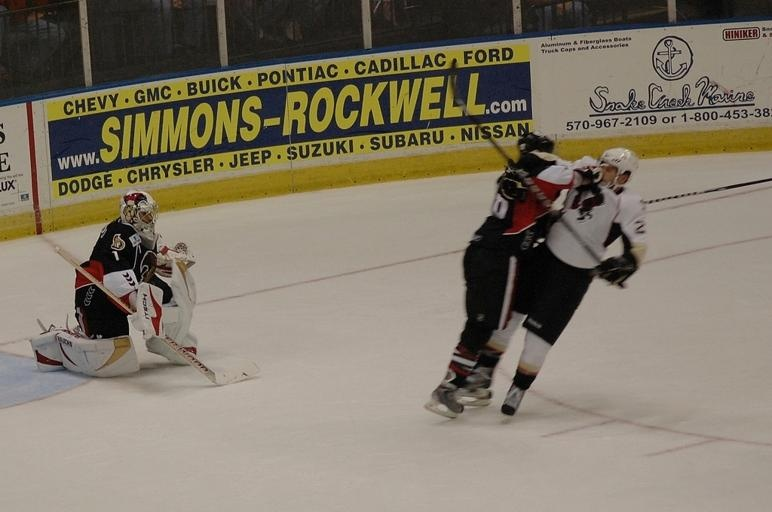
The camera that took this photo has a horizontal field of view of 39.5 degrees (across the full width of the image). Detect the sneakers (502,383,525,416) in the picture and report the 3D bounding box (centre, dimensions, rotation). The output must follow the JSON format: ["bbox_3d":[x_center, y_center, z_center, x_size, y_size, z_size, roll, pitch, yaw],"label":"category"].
[{"bbox_3d":[0.931,1.065,7.853,0.076,0.208,0.164,29,3,32],"label":"sneakers"}]

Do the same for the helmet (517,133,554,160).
[{"bbox_3d":[1.092,-0.824,8.023,0.239,0.154,0.223,11,21,37],"label":"helmet"}]

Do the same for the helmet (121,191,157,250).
[{"bbox_3d":[-2.027,-0.334,8.777,0.339,0.360,0.275,3,1,8],"label":"helmet"}]

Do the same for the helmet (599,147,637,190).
[{"bbox_3d":[1.695,-0.666,7.949,0.354,0.272,0.236,2,30,2],"label":"helmet"}]

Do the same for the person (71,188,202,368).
[{"bbox_3d":[-1.981,0.242,8.804,1.104,1.362,1.101,-8,9,-39],"label":"person"}]

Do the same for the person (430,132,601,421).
[{"bbox_3d":[0.822,0.151,7.833,1.282,1.974,0.533,-17,25,-41],"label":"person"}]
